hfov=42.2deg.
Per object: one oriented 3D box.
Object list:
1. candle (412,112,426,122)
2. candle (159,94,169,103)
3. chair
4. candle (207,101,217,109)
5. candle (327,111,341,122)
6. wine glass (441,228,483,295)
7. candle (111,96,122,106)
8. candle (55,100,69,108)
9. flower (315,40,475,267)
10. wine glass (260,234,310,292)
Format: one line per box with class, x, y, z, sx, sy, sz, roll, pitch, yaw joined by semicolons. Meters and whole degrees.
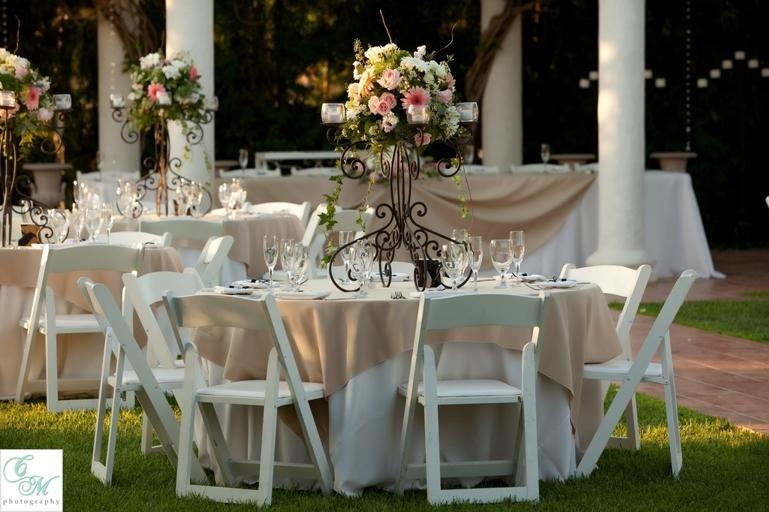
candle;0.225;-0.876;6.268;0.057;0.054;0.067;-3;6;-11
candle;-2.067;-1.494;9.408;0.069;0.094;0.023;11;-9;-21
chair;0.140;0.743;6.232;3.595;1.404;1.269;0;3;-16
candle;-1.809;-1.587;10.521;0.105;0.092;0.125;-1;5;-5
candle;-0.322;-0.900;6.441;0.056;0.057;0.066;-1;6;-6
wine glass;0.490;0.034;6.542;0.280;0.572;0.296;0;5;0
candle;-2.677;-1.578;10.042;0.099;0.142;0.096;0;9;0
candle;-2.748;-1.312;8.568;0.055;0.049;0.065;0;2;-7
flower;0.121;-0.713;6.554;0.778;1.412;0.875;-1;6;-2
wine glass;-0.657;0.017;6.601;0.285;0.603;0.307;0;4;-5
